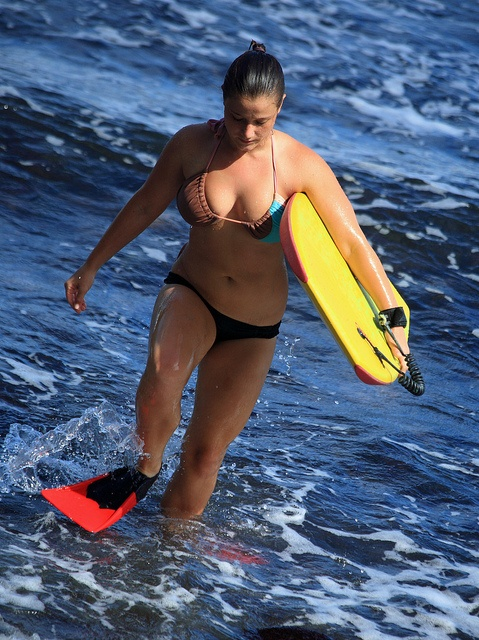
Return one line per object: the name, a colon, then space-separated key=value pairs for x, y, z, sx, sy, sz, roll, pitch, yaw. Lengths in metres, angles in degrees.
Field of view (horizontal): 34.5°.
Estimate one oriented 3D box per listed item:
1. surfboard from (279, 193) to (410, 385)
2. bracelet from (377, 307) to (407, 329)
surfboard: x=0.328 y=-0.089 z=2.607 sx=0.674 sy=0.114 sz=0.431 roll=59 pitch=23 yaw=-9
bracelet: x=0.542 y=-0.001 z=2.731 sx=0.088 sy=0.051 sz=0.084 roll=-6 pitch=1 yaw=-1
